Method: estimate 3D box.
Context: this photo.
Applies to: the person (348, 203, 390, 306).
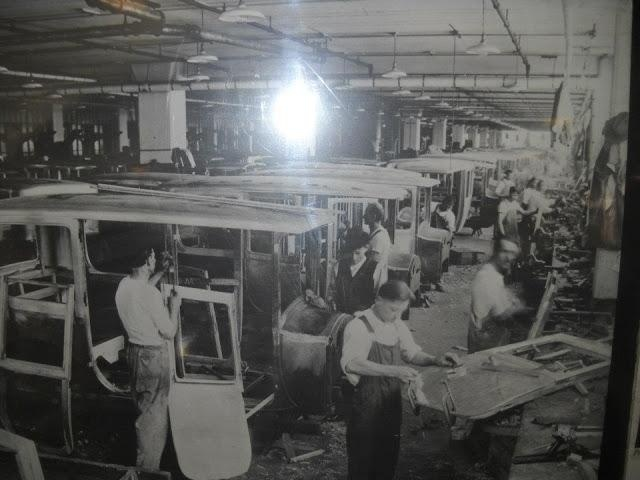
[{"bbox_3d":[0.451,0.087,5.545,0.316,0.774,0.117,1,7,6],"label":"person"}]
